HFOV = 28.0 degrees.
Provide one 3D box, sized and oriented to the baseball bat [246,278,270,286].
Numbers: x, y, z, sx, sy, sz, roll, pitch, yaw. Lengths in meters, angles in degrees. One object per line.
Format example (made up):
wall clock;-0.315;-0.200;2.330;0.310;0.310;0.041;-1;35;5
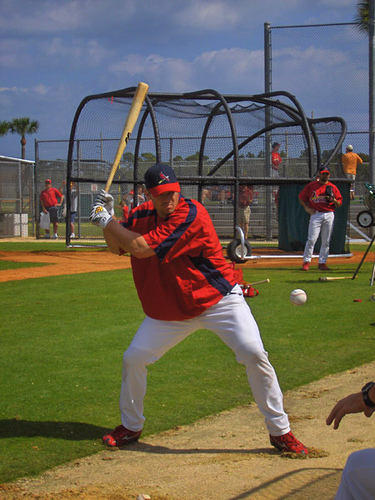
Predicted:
baseball bat;0.911;0.412;9.677;0.321;0.058;0.048;-13;1;7

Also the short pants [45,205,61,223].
short pants;-3.616;-0.977;20.230;0.319;0.513;0.737;-1;9;-5

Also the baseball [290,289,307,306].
baseball;1.059;0.438;7.169;0.143;0.138;0.139;20;-44;-11

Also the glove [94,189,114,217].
glove;-0.503;-0.282;4.686;0.066;0.172;0.137;-18;-32;2

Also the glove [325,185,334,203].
glove;2.136;-0.847;11.254;0.134;0.207;0.068;5;-3;-29

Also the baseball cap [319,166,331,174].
baseball cap;2.113;-1.240;11.484;0.150;0.130;0.231;3;-4;2

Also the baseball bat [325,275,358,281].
baseball bat;2.186;0.394;10.629;0.623;0.060;0.064;-1;-7;-33

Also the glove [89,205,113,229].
glove;-0.491;-0.170;4.464;0.119;0.155;0.111;-2;32;18

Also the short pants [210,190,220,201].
short pants;0.813;-1.506;21.103;0.248;0.434;0.247;3;5;21

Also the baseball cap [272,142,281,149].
baseball cap;2.229;-2.607;18.708;0.193;0.158;0.121;1;9;8

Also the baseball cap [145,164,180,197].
baseball cap;-0.144;-0.418;4.386;0.200;0.151;0.293;-10;19;-17

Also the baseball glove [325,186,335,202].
baseball glove;2.145;-0.857;11.229;0.073;0.197;0.147;4;-3;45

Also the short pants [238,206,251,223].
short pants;1.323;-0.838;17.379;0.239;0.414;0.529;0;9;1

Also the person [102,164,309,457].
person;0.036;0.331;4.460;1.101;1.651;0.546;0;10;1
